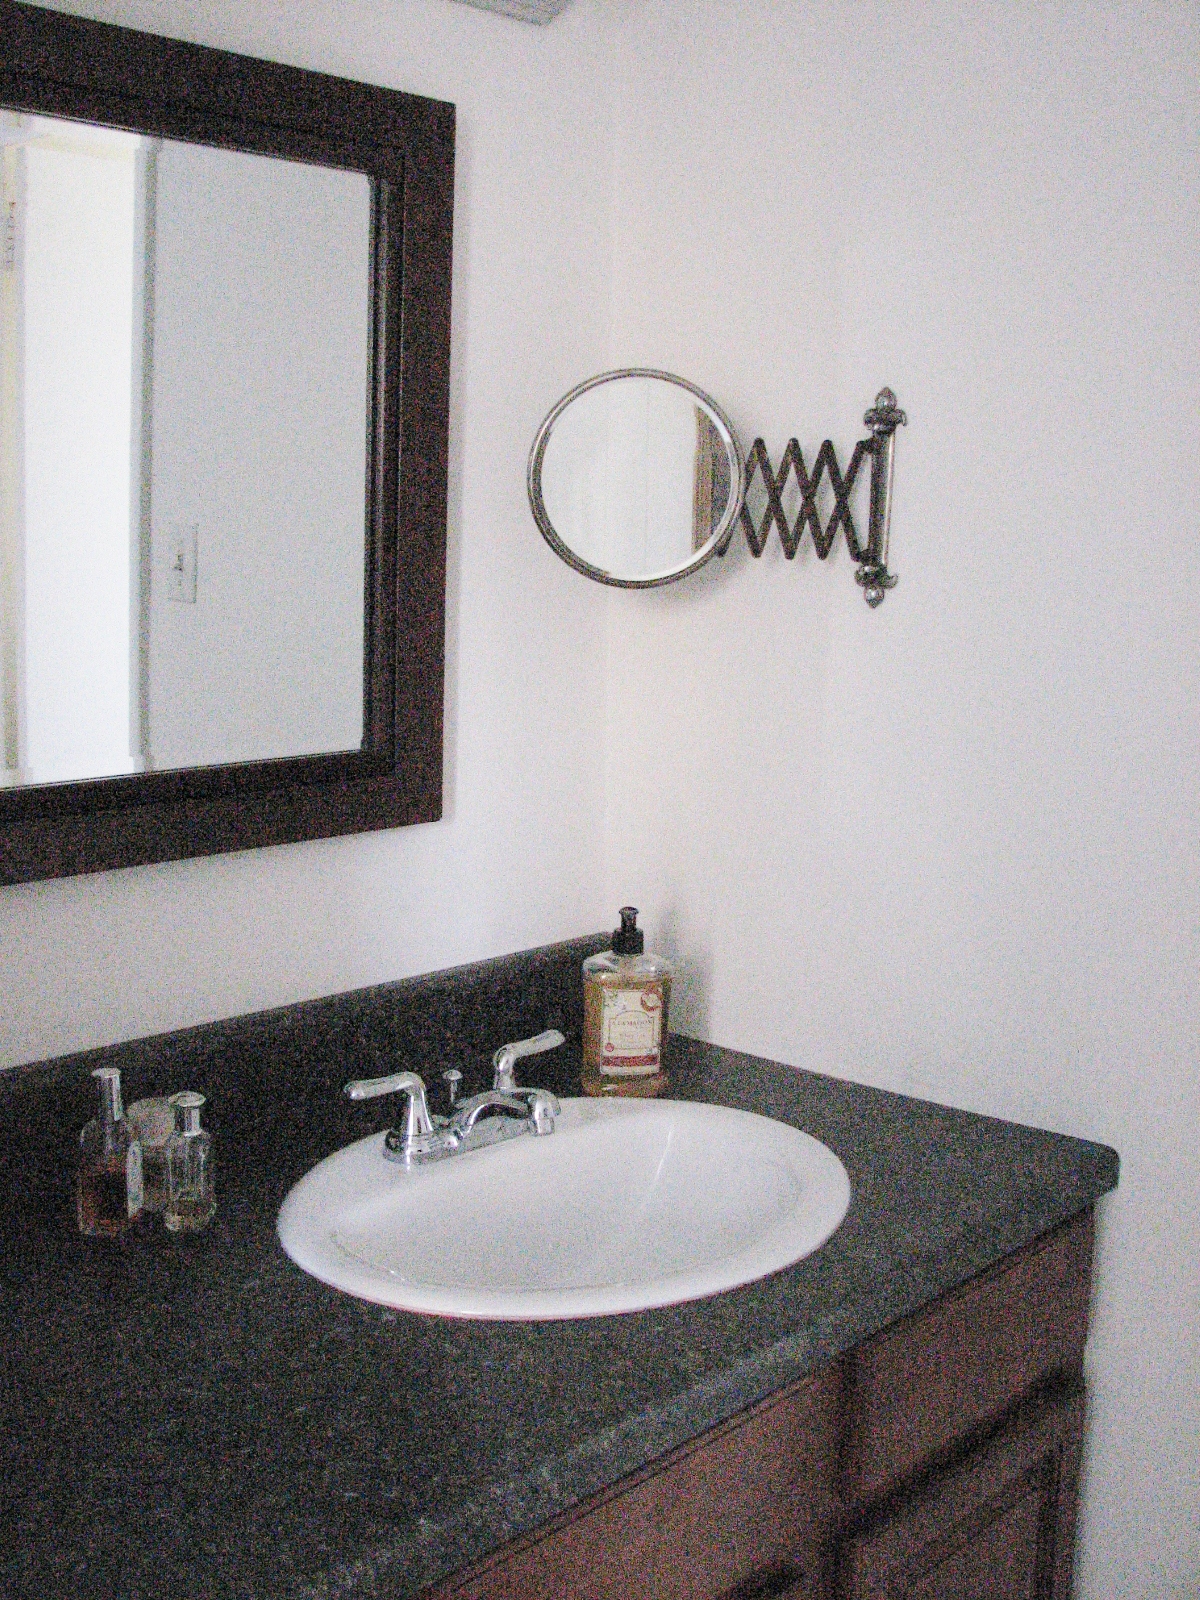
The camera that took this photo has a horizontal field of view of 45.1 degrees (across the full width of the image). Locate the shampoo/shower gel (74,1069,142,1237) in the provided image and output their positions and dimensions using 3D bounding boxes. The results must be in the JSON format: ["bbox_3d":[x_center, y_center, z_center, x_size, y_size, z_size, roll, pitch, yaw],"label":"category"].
[{"bbox_3d":[-0.369,0.269,1.083,0.051,0.093,0.088,-11,26,-33],"label":"shampoo/shower gel"}]

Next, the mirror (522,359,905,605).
[{"bbox_3d":[0.115,-0.298,1.392,0.334,0.236,0.062,9,13,24],"label":"mirror"}]

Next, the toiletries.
[{"bbox_3d":[-0.340,0.274,1.144,0.132,0.116,0.113,22,25,38],"label":"toiletries"}]
